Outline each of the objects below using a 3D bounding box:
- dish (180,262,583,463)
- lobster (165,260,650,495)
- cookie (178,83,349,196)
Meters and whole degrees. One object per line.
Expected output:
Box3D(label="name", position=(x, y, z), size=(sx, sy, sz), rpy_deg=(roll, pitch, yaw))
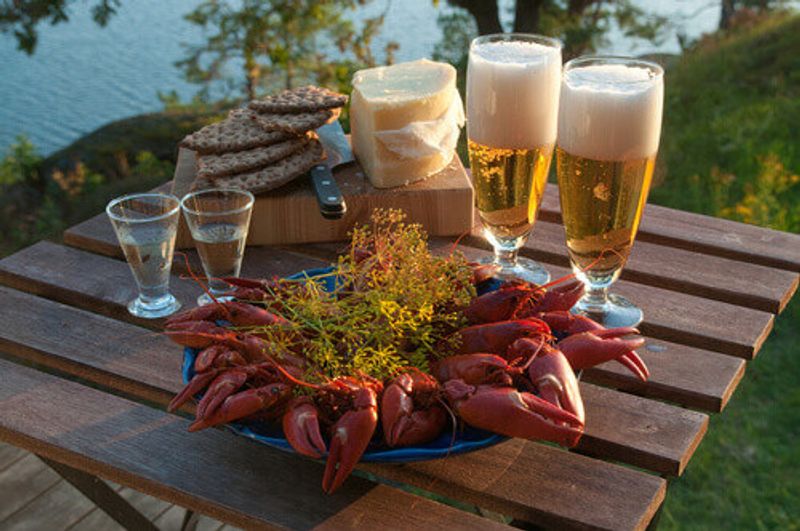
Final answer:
Box3D(label="dish", position=(-0.013, 0.145, 1.108), size=(0.513, 0.184, 0.555), rpy_deg=(20, 32, 34))
Box3D(label="lobster", position=(-0.013, 0.186, 1.008), size=(0.687, 0.100, 0.443), rpy_deg=(4, 27, 8))
Box3D(label="cookie", position=(-0.315, -0.302, 1.632), size=(0.429, 0.058, 0.318), rpy_deg=(-21, 34, -29))
